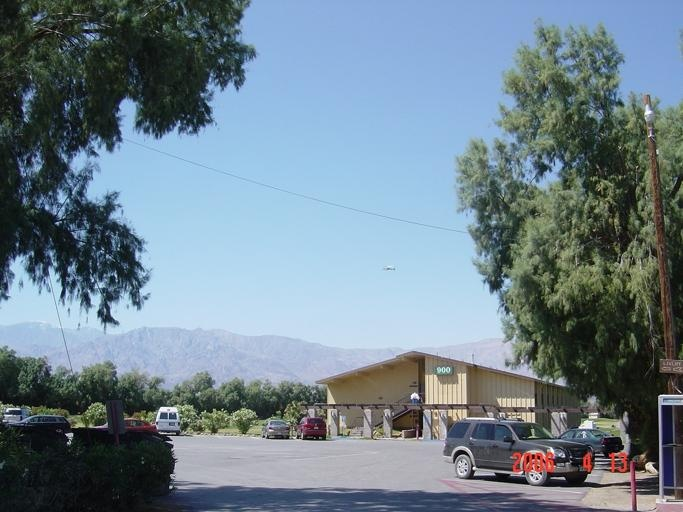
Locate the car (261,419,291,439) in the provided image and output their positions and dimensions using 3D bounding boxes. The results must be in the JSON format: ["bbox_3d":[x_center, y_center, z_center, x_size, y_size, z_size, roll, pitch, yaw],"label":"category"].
[{"bbox_3d":[-5.187,13.597,58.085,1.397,1.462,2.613,9,-16,-37],"label":"car"}]

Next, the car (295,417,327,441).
[{"bbox_3d":[-2.220,13.321,57.096,1.936,1.723,2.536,3,-13,-13],"label":"car"}]

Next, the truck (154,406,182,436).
[{"bbox_3d":[-14.074,13.553,60.590,1.856,2.314,4.031,3,-13,-13],"label":"truck"}]
